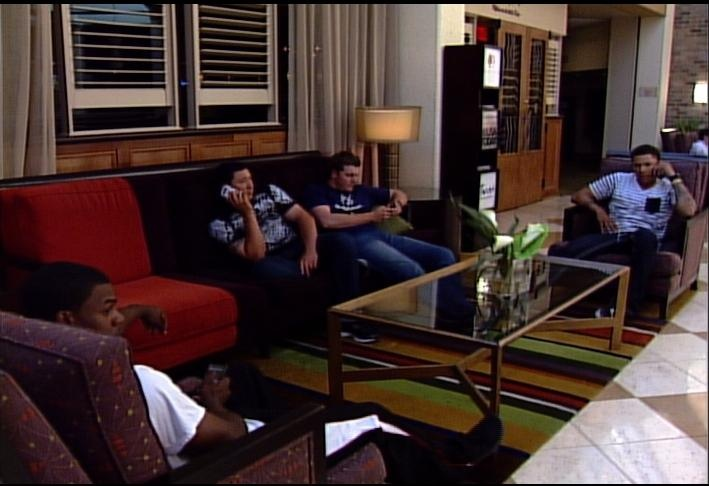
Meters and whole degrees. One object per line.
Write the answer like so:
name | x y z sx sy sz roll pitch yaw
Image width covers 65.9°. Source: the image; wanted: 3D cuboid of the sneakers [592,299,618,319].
sneakers | 1.630 0.440 3.544 0.105 0.117 0.310 2 11 30

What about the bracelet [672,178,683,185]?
bracelet | 2.211 -0.425 3.724 0.078 0.035 0.043 -4 13 -4

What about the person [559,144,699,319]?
person | 1.824 -0.124 3.759 0.847 1.130 0.772 6 5 7

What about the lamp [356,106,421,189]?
lamp | 0.290 -0.911 4.594 0.399 0.449 0.414 5 11 26

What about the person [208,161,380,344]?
person | -0.370 -0.015 3.206 1.153 0.705 0.559 17 43 36

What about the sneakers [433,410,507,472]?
sneakers | 0.380 0.643 1.801 0.105 0.119 0.309 5 11 31

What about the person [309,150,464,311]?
person | 0.241 -0.067 3.609 1.011 1.115 0.716 3 13 24

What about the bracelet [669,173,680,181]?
bracelet | 2.190 -0.447 3.741 0.061 0.039 0.054 -7 1 -30

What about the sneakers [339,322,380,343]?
sneakers | 0.034 0.530 3.262 0.232 0.096 0.086 5 13 30

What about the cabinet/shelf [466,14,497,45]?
cabinet/shelf | 1.479 -2.494 6.421 0.570 0.301 0.178 -14 17 -39

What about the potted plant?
potted plant | 0.843 0.003 2.935 0.513 0.319 0.509 1 16 -44
